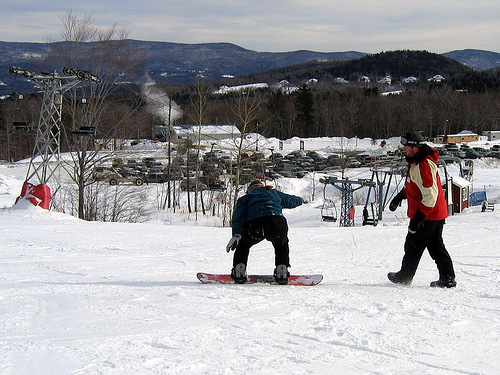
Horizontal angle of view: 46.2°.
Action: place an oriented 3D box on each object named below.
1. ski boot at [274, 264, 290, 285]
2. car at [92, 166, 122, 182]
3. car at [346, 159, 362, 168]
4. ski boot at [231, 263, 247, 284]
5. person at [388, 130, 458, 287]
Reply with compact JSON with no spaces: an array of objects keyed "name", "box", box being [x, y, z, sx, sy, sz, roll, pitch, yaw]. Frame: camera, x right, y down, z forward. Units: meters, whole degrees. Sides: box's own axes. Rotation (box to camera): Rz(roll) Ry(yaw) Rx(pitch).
[{"name":"ski boot","box":[0.467,1.311,8.786,0.207,0.263,0.274,0,-8,1]},{"name":"car","box":[-9.051,-0.814,37.170,2.257,1.125,1.418,1,0,-6]},{"name":"car","box":[8.763,-2.035,49.697,1.217,0.643,1.704,0,2,8]},{"name":"ski boot","box":[-0.150,1.301,8.786,0.178,0.318,0.305,3,-11,-10]},{"name":"person","box":[2.519,0.338,8.449,0.832,2.251,0.485,1,2,15]}]
